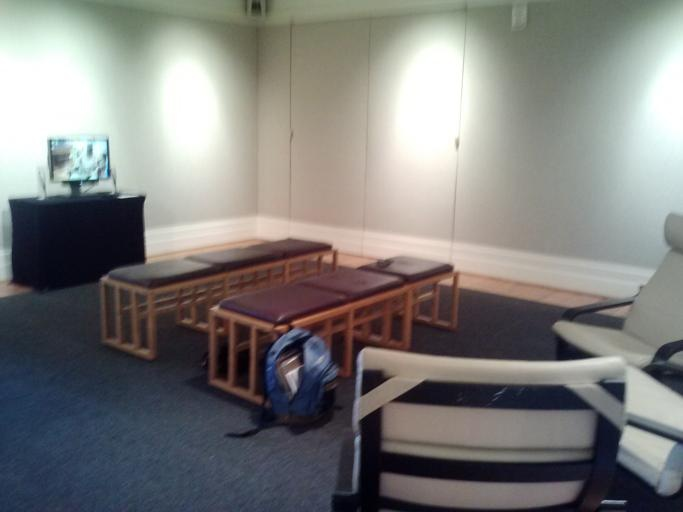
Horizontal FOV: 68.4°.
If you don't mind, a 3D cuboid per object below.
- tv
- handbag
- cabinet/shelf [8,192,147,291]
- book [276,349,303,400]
[{"bbox_3d":[-2.535,-0.879,4.810,0.146,0.466,0.515,10,17,32],"label":"tv"},{"bbox_3d":[-0.253,0.646,2.665,0.401,0.441,0.299,-4,14,-20],"label":"handbag"},{"bbox_3d":[-2.548,-0.168,4.841,1.101,0.807,0.597,-8,16,-35],"label":"cabinet/shelf"},{"bbox_3d":[-0.282,0.592,2.552,0.060,0.216,0.154,4,10,-9],"label":"book"}]
